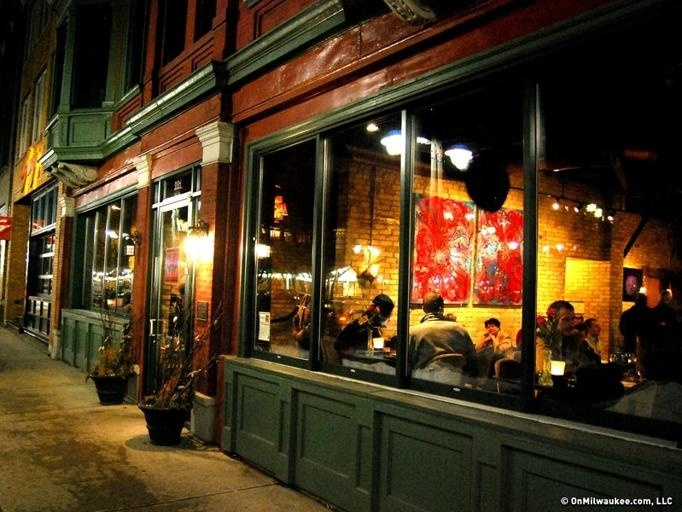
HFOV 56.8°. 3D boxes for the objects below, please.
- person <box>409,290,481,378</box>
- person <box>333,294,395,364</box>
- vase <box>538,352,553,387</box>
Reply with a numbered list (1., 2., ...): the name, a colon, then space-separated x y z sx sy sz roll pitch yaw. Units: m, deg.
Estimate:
1. person: 0.988 1.035 6.495 0.729 1.258 0.666 2 -14 -12
2. person: 0.387 0.693 7.058 0.448 0.411 0.811 12 28 12
3. vase: 1.782 0.991 5.556 0.114 0.327 0.117 -4 -20 21
